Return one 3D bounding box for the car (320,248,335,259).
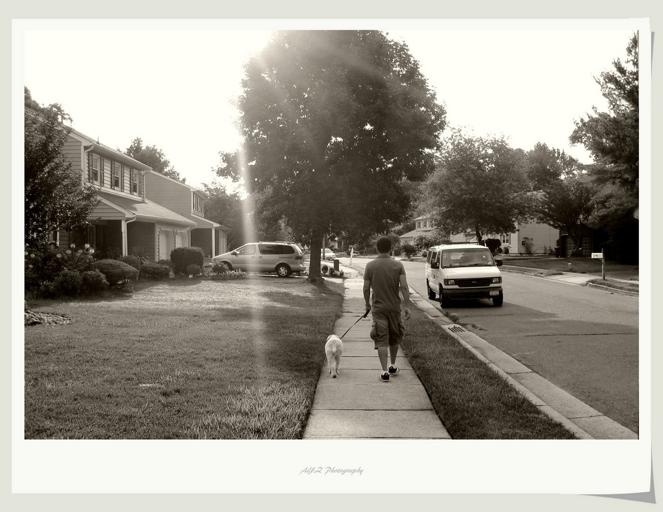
[{"bbox_3d":[-0.432,-0.231,65.539,1.401,1.287,3.463,1,9,2],"label":"car"}]

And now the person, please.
[{"bbox_3d":[0.907,0.863,9.868,0.697,2.172,0.525,-2,0,-29],"label":"person"}]

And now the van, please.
[{"bbox_3d":[4.371,0.575,20.165,1.383,1.467,2.992,-2,-5,0],"label":"van"}]
